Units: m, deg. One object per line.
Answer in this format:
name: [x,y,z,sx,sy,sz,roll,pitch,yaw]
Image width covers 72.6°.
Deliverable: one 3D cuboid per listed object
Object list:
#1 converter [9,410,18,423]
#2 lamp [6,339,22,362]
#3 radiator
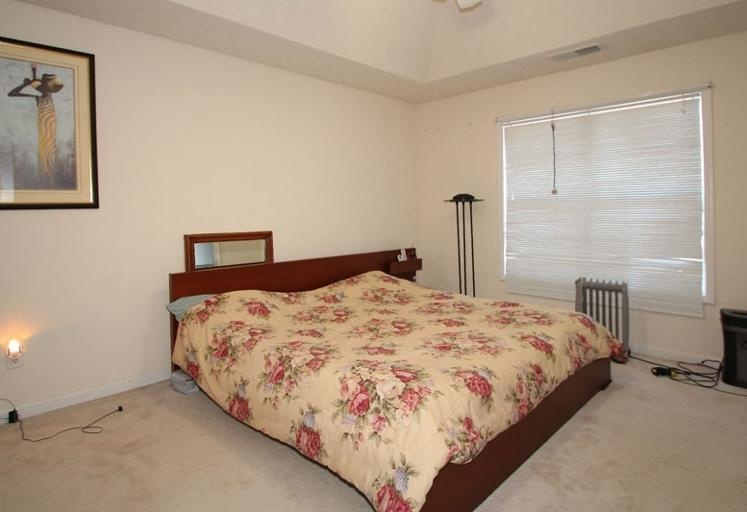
converter: [-3.026,1.334,4.258,0.076,0.100,0.035,-5,7,-30]
lamp: [-3.023,0.788,4.267,0.098,0.186,0.067,-6,8,-37]
radiator: [2.514,0.701,5.715,0.179,0.849,0.466,-12,-6,15]
